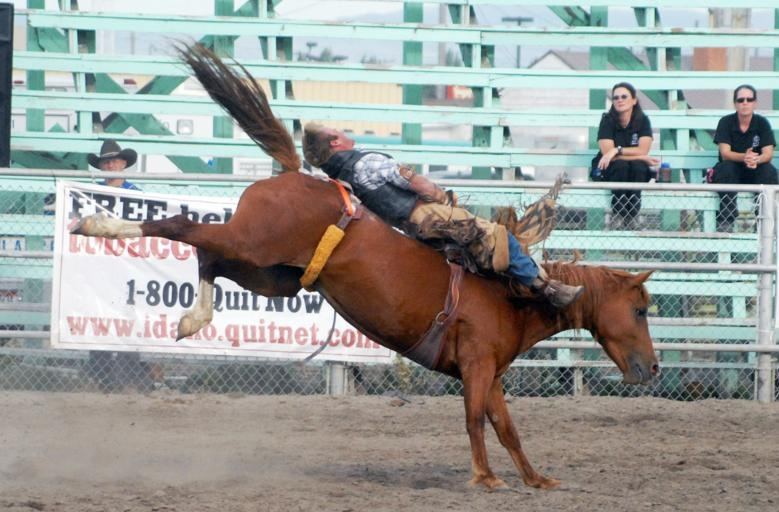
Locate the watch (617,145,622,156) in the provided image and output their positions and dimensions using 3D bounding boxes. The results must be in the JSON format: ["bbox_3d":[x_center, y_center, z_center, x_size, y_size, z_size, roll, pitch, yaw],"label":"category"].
[{"bbox_3d":[3.368,-1.594,25.370,0.081,0.099,0.116,4,-6,12],"label":"watch"}]

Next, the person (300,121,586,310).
[{"bbox_3d":[0.669,-0.479,22.908,3.367,0.773,1.080,37,-17,2],"label":"person"}]
